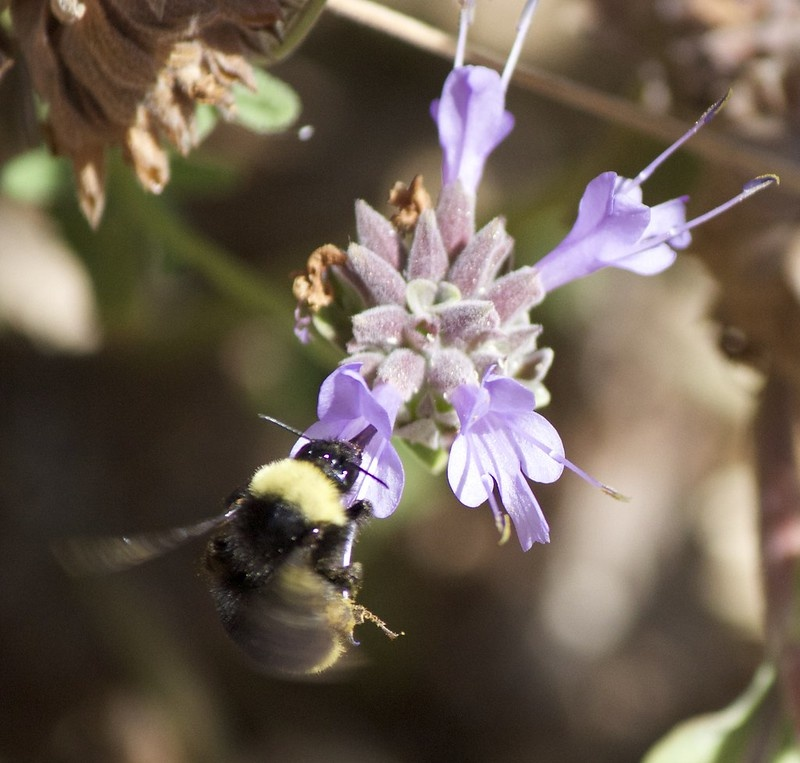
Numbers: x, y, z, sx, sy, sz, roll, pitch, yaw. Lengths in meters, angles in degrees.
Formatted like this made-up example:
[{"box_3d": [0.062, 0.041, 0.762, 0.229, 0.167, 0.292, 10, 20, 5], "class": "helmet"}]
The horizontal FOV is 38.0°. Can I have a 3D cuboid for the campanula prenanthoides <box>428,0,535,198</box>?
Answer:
[{"box_3d": [0.154, -0.580, 2.323, 0.167, 0.383, 0.303, 18, 32, -4], "class": "campanula prenanthoides"}]

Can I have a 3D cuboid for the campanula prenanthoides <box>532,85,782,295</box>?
[{"box_3d": [0.510, -0.337, 2.343, 0.273, 0.427, 0.478, 37, 35, 24], "class": "campanula prenanthoides"}]

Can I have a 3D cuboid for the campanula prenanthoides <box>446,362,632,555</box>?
[{"box_3d": [0.239, 0.190, 2.118, 0.355, 0.279, 0.141, 57, 10, 27], "class": "campanula prenanthoides"}]
